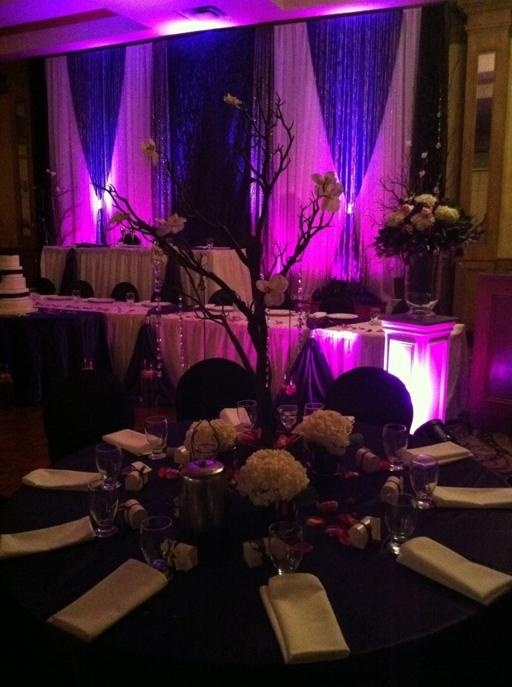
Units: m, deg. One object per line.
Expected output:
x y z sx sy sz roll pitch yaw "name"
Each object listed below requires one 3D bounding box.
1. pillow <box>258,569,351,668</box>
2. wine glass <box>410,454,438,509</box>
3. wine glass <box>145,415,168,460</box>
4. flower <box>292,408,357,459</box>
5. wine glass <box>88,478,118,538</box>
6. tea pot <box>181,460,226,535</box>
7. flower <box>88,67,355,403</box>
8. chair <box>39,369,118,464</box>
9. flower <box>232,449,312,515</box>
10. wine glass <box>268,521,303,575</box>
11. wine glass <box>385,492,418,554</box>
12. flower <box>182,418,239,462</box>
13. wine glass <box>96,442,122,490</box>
0.074 0.441 0.865 0.117 0.055 0.184 -1 12 -18 "pillow"
0.394 0.329 1.268 0.066 0.140 0.073 -5 12 -9 "wine glass"
-0.299 0.277 1.617 0.060 0.130 0.068 5 11 24 "wine glass"
0.171 0.244 1.436 0.120 0.075 0.149 10 29 19 "flower"
-0.333 0.357 1.178 0.057 0.118 0.062 -1 2 37 "wine glass"
-0.105 0.299 1.072 0.086 0.173 0.103 1 2 3 "tea pot"
-0.079 -0.228 1.421 0.552 1.020 0.554 -10 29 -13 "flower"
-0.661 0.251 2.140 0.245 0.449 0.303 -2 2 -17 "chair"
0.036 0.299 1.123 0.113 0.134 0.134 -7 -19 16 "flower"
0.060 0.373 0.985 0.057 0.093 0.067 2 -1 19 "wine glass"
0.306 0.351 1.096 0.043 0.101 0.056 -6 -4 9 "wine glass"
-0.109 0.231 1.289 0.105 0.118 0.093 -1 4 -39 "flower"
-0.378 0.314 1.384 0.060 0.123 0.061 4 4 41 "wine glass"
